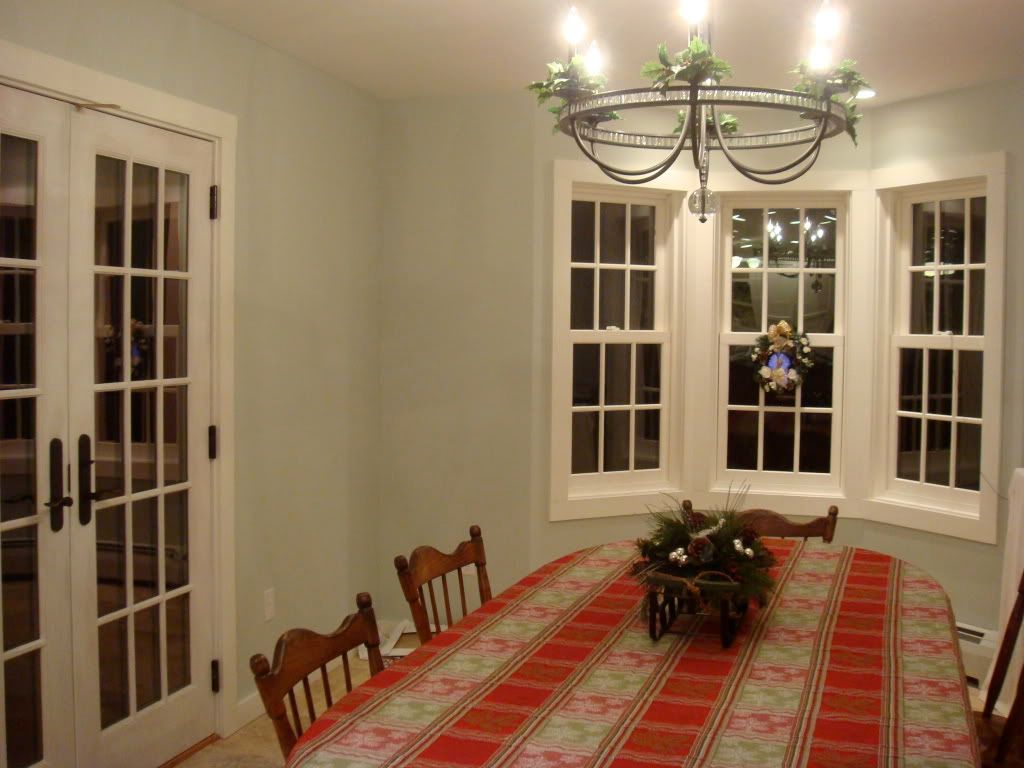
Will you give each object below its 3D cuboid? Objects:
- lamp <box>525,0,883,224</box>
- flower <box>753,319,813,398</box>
[{"bbox_3d":[0.797,-1.175,3.419,1.128,0.956,1.138,0,-2,-6],"label":"lamp"},{"bbox_3d":[1.611,-0.151,4.764,0.355,0.429,0.171,-3,9,-21],"label":"flower"}]
